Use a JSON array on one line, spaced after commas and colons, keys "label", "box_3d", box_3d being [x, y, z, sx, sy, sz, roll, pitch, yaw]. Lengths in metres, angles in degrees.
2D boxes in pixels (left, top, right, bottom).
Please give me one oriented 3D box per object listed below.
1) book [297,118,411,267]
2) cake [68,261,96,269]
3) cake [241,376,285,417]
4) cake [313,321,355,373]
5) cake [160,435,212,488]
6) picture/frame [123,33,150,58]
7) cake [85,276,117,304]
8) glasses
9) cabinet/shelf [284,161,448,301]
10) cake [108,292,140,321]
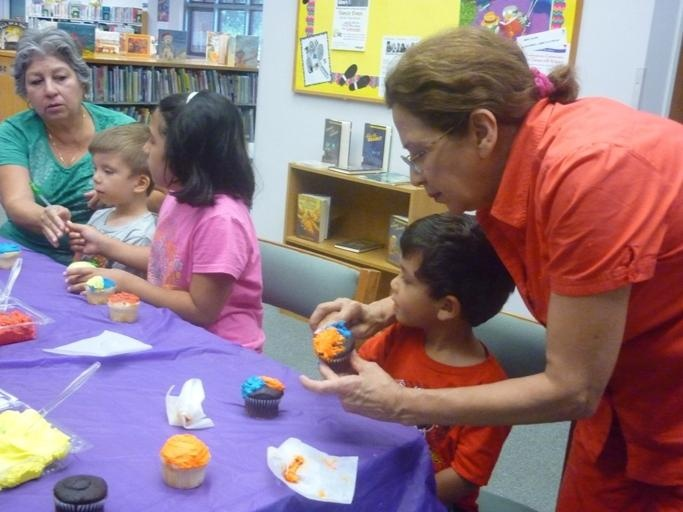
[{"label": "book", "box_3d": [0.091, -0.406, 3.599, 0.834, 0.981, 0.286, 16, 16, 40]}, {"label": "cake", "box_3d": [-0.854, 0.028, 1.829, 0.052, 0.028, 0.053, 3, -2, -6]}, {"label": "cake", "box_3d": [-0.169, 0.298, 1.185, 0.073, 0.061, 0.081, 1, 2, -8]}, {"label": "cake", "box_3d": [-0.020, 0.217, 1.319, 0.080, 0.111, 0.108, -19, -17, 7]}, {"label": "cake", "box_3d": [-0.275, 0.350, 0.980, 0.078, 0.071, 0.080, 1, 3, -4]}, {"label": "picture/frame", "box_3d": [-2.360, -2.418, 6.383, 0.432, 0.311, 0.042, -6, 13, -42]}, {"label": "cake", "box_3d": [-0.733, 0.100, 1.681, 0.081, 0.083, 0.083, 0, -4, 15]}, {"label": "glasses", "box_3d": [0.189, -0.224, 1.109, 0.122, 0.043, 0.101, -26, 20, -10]}, {"label": "cabinet/shelf", "box_3d": [0.104, -0.151, 2.796, 0.786, 0.713, 0.263, 19, 20, 40]}, {"label": "cake", "box_3d": [-0.607, 0.141, 1.565, 0.077, 0.069, 0.079, 4, 2, -1]}]
